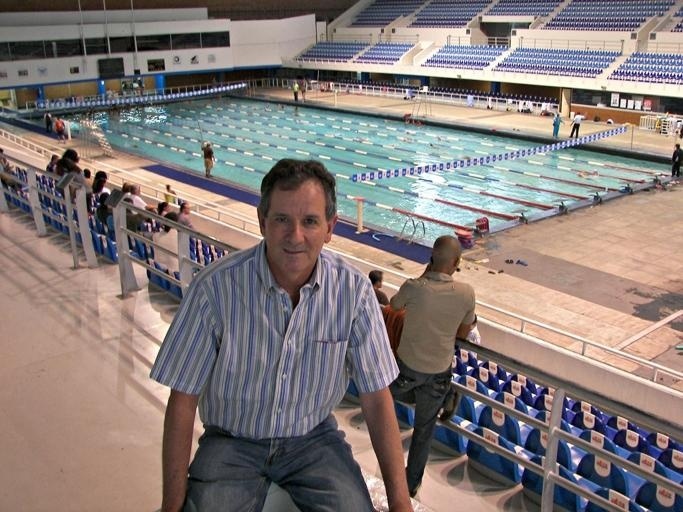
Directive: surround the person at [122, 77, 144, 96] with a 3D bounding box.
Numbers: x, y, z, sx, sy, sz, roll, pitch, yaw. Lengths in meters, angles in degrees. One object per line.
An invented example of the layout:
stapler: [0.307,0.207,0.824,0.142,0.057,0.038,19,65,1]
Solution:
person: [-13.933,-11.271,31.641,1.405,1.004,0.730,-6,20,-27]
